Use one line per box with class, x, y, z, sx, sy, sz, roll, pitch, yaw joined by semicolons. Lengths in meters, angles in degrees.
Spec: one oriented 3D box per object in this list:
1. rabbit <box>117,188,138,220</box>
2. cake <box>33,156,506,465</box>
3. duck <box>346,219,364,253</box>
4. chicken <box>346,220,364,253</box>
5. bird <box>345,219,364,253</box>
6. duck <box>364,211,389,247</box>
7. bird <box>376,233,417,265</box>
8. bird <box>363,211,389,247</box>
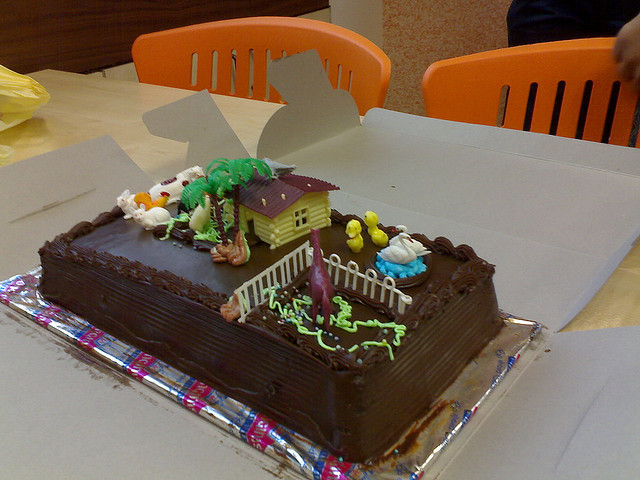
rabbit;-0.699;-0.127;1.927;0.050;0.116;0.085;-3;-3;43
cake;-0.206;0.121;1.639;1.320;0.486;0.834;19;39;33
duck;0.110;-0.007;1.675;0.051;0.101;0.056;14;36;36
chicken;0.110;-0.007;1.674;0.050;0.098;0.054;17;40;38
bird;0.110;-0.008;1.676;0.051;0.100;0.055;11;35;36
duck;0.178;-0.039;1.683;0.081;0.120;0.047;18;40;25
bird;0.231;0.029;1.594;0.115;0.096;0.080;-7;-10;24
bird;0.179;-0.034;1.687;0.084;0.112;0.045;20;35;35
